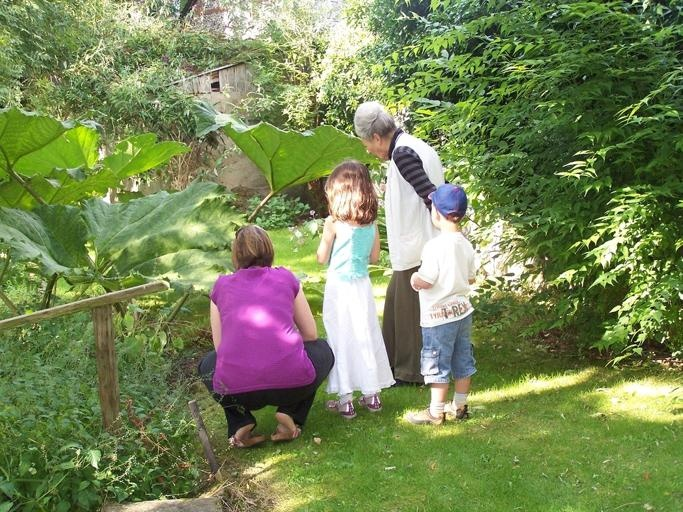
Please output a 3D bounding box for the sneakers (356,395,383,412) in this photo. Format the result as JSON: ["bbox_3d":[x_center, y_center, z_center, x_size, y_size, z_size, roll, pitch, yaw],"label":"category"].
[{"bbox_3d":[0.213,1.034,4.010,0.080,0.095,0.207,-3,12,-20],"label":"sneakers"}]

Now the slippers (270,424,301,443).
[{"bbox_3d":[-0.369,1.153,3.672,0.174,0.073,0.093,2,2,2],"label":"slippers"}]

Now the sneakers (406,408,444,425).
[{"bbox_3d":[0.567,1.064,3.798,0.255,0.108,0.095,2,-2,11],"label":"sneakers"}]

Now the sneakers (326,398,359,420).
[{"bbox_3d":[0.000,1.060,3.964,0.092,0.111,0.257,-5,13,-36],"label":"sneakers"}]

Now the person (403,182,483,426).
[{"bbox_3d":[0.645,0.339,3.694,0.509,1.565,0.239,-7,4,10],"label":"person"}]

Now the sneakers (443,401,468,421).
[{"bbox_3d":[0.769,1.046,3.815,0.081,0.100,0.221,-5,5,-44],"label":"sneakers"}]

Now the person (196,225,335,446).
[{"bbox_3d":[-0.524,0.499,3.715,0.899,1.351,0.807,-3,-4,4],"label":"person"}]
